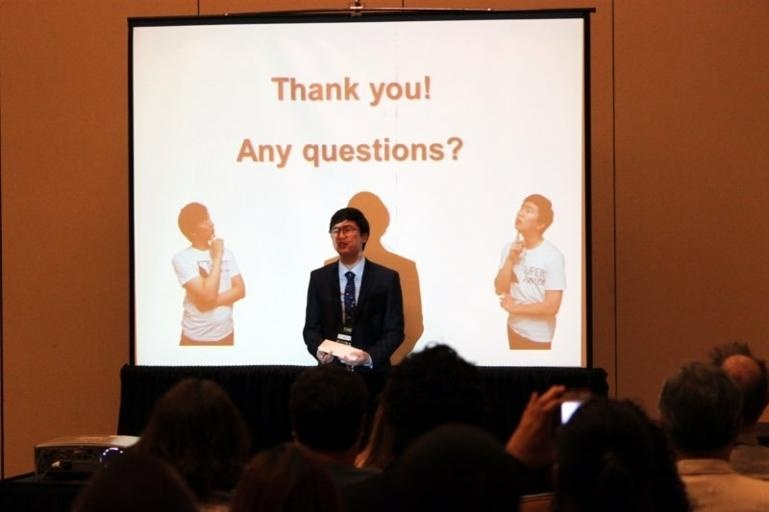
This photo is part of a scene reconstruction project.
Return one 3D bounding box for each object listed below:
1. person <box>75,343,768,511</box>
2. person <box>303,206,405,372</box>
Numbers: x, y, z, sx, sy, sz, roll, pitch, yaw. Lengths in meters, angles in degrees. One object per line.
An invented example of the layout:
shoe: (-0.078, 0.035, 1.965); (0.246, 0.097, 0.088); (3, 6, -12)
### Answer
person: (0.796, 0.847, 3.913); (2.457, 0.555, 0.745); (1, 2, -9)
person: (-0.240, 0.573, 5.919); (0.746, 1.891, 0.720); (-1, -6, -3)
